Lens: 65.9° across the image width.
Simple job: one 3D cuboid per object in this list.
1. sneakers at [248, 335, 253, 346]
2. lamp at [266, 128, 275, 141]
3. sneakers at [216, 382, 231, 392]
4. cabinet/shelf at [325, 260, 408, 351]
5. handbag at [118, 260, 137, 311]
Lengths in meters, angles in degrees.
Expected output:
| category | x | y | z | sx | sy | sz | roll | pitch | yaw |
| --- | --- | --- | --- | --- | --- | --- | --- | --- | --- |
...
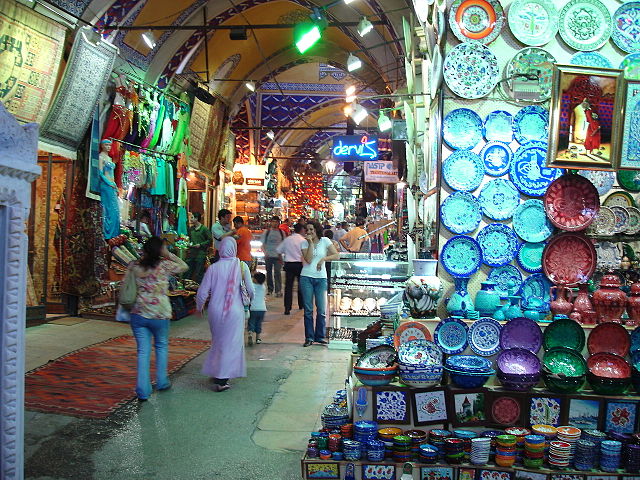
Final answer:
| category | x | y | z | sx | sy | sz | roll | pitch | yaw |
| --- | --- | --- | --- | --- | --- | --- | --- | --- | --- |
| sneakers | -1.014 | 1.475 | 7.202 | 0.071 | 0.140 | 0.137 | 0 | 22 | -3 |
| lamp | -1.990 | -4.161 | 19.630 | 0.118 | 0.352 | 0.347 | -10 | -50 | 43 |
| sneakers | -1.038 | 1.562 | 5.271 | 0.069 | 0.073 | 0.175 | 2 | 1 | 6 |
| cabinet/shelf | 0.588 | 0.756 | 6.179 | 1.283 | 1.193 | 0.675 | 2 | 4 | 2 |
| handbag | -1.881 | 0.459 | 4.841 | 0.159 | 0.476 | 0.172 | 3 | -4 | -25 |
